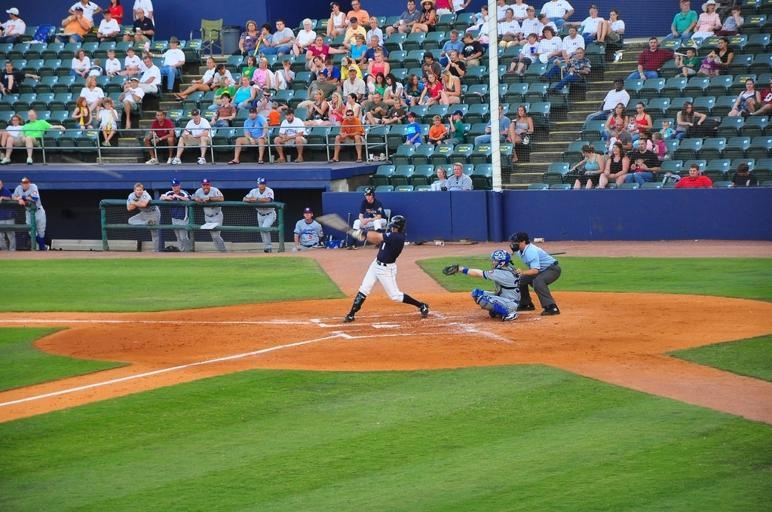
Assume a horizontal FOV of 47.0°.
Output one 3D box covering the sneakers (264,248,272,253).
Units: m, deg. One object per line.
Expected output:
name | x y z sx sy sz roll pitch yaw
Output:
sneakers | -3.502 -0.193 26.416 0.202 0.094 0.136 -3 5 -14
